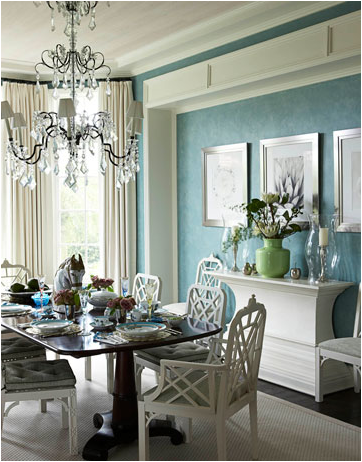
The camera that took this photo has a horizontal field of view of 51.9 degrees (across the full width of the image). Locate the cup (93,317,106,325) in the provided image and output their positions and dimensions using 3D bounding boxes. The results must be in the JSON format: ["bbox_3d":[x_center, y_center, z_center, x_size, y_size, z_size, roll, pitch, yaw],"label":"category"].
[{"bbox_3d":[-0.418,0.445,1.893,0.059,0.034,0.050,5,-6,-31],"label":"cup"}]

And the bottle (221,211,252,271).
[{"bbox_3d":[0.528,0.108,3.643,0.351,0.805,0.393,-1,3,-1],"label":"bottle"}]

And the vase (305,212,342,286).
[{"bbox_3d":[1.123,0.114,2.907,0.249,0.544,0.271,-8,9,-16],"label":"vase"}]

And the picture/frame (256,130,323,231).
[{"bbox_3d":[0.954,-0.425,3.178,0.035,1.082,0.762,-2,4,-34],"label":"picture/frame"}]

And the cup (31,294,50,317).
[{"bbox_3d":[-0.888,0.466,2.345,0.099,0.137,0.106,0,5,0],"label":"cup"}]

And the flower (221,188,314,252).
[{"bbox_3d":[0.763,-0.103,3.245,0.456,0.322,0.476,-15,-13,33],"label":"flower"}]

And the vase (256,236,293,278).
[{"bbox_3d":[0.786,0.218,3.140,0.262,0.344,0.269,1,4,41],"label":"vase"}]

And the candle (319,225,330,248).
[{"bbox_3d":[1.079,0.047,2.779,0.077,0.145,0.097,1,4,23],"label":"candle"}]

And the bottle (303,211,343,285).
[{"bbox_3d":[1.111,0.133,2.926,0.265,0.548,0.298,3,-1,-1],"label":"bottle"}]
